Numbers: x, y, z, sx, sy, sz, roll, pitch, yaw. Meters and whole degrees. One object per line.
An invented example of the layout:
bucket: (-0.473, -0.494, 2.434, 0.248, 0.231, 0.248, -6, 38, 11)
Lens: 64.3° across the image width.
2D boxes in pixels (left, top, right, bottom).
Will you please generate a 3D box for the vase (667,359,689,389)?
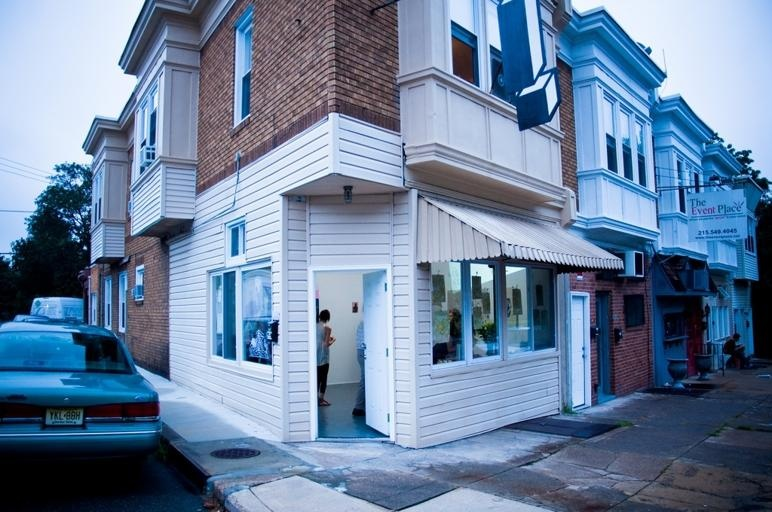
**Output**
vase: (9.238, 3.611, 19.247, 0.770, 0.910, 0.749, -1, 0, -44)

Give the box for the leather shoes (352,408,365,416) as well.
leather shoes: (-0.641, 3.467, 13.679, 0.287, 0.128, 0.125, -1, -3, 9)

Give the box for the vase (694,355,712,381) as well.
vase: (10.993, 3.793, 21.217, 0.778, 0.943, 0.787, -5, -6, 32)

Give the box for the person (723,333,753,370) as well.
person: (14.499, 3.838, 25.644, 0.780, 1.315, 0.645, 3, 20, 12)
